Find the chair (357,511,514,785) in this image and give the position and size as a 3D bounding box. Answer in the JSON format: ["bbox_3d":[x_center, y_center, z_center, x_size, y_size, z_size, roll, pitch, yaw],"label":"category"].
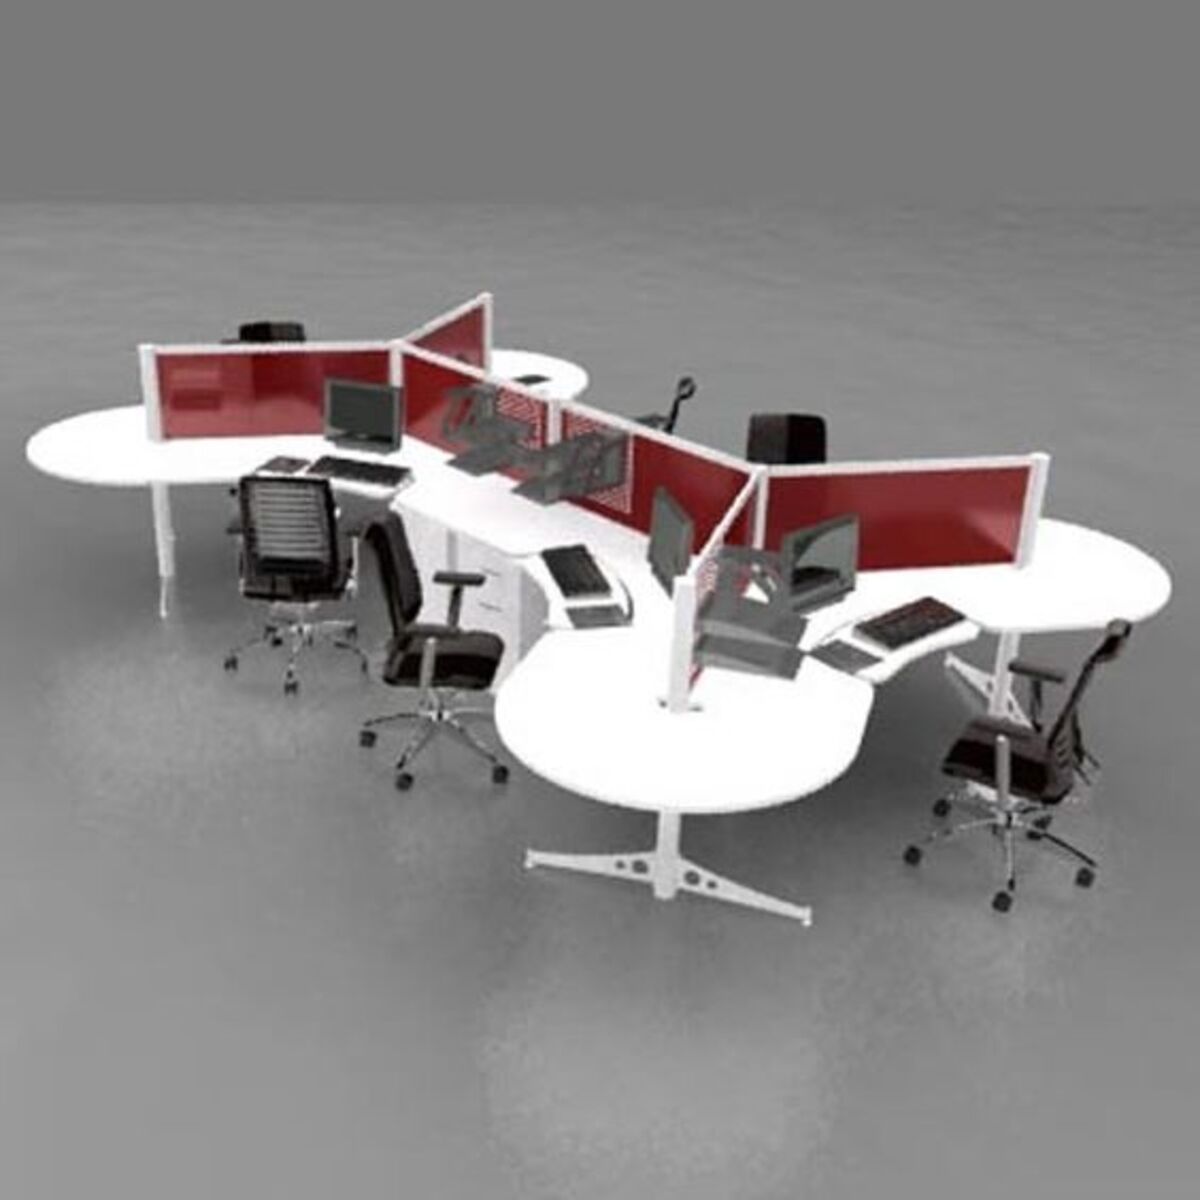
[{"bbox_3d":[-0.681,0.214,5.376,0.640,0.947,0.726,5,31,4],"label":"chair"}]

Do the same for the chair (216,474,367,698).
[{"bbox_3d":[-1.412,-0.155,5.858,0.678,0.961,0.664,2,18,-3],"label":"chair"}]

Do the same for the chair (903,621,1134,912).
[{"bbox_3d":[1.620,0.487,4.786,0.687,1.023,1.013,14,24,22],"label":"chair"}]

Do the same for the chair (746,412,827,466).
[{"bbox_3d":[0.935,-0.811,6.405,0.385,0.382,0.282,-2,14,-12],"label":"chair"}]
